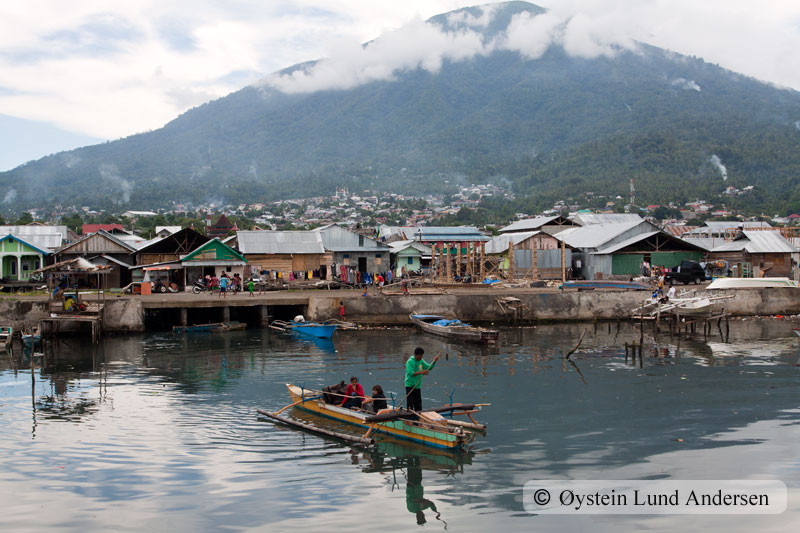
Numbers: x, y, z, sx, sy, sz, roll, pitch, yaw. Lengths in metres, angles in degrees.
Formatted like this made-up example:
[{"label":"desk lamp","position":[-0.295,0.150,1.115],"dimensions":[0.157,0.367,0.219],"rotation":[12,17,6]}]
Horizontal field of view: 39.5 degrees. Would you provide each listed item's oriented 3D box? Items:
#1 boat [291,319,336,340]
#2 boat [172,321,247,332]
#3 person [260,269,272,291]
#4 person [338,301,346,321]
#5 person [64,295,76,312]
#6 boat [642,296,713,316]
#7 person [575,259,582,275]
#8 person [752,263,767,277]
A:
[{"label":"boat","position":[-7.576,5.462,95.113],"dimensions":[2.099,1.879,4.426],"rotation":[2,-7,-39]},{"label":"boat","position":[-16.652,5.422,97.592],"dimensions":[6.004,0.971,1.718],"rotation":[-2,-6,-7]},{"label":"person","position":[-13.111,1.376,108.596],"dimensions":[1.543,1.688,0.554],"rotation":[4,-8,-6]},{"label":"person","position":[-5.143,3.936,98.203],"dimensions":[0.543,1.663,0.648],"rotation":[2,-8,-42]},{"label":"person","position":[-27.919,3.271,93.989],"dimensions":[1.373,1.686,1.032],"rotation":[1,-7,-11]},{"label":"boat","position":[24.298,3.473,95.622],"dimensions":[3.933,0.872,2.639],"rotation":[-4,0,-14]},{"label":"person","position":[19.254,0.243,120.401],"dimensions":[0.374,1.864,1.078],"rotation":[-1,-7,-26]},{"label":"person","position":[35.546,0.413,110.229],"dimensions":[1.281,1.288,1.201],"rotation":[-6,-7,25]}]
